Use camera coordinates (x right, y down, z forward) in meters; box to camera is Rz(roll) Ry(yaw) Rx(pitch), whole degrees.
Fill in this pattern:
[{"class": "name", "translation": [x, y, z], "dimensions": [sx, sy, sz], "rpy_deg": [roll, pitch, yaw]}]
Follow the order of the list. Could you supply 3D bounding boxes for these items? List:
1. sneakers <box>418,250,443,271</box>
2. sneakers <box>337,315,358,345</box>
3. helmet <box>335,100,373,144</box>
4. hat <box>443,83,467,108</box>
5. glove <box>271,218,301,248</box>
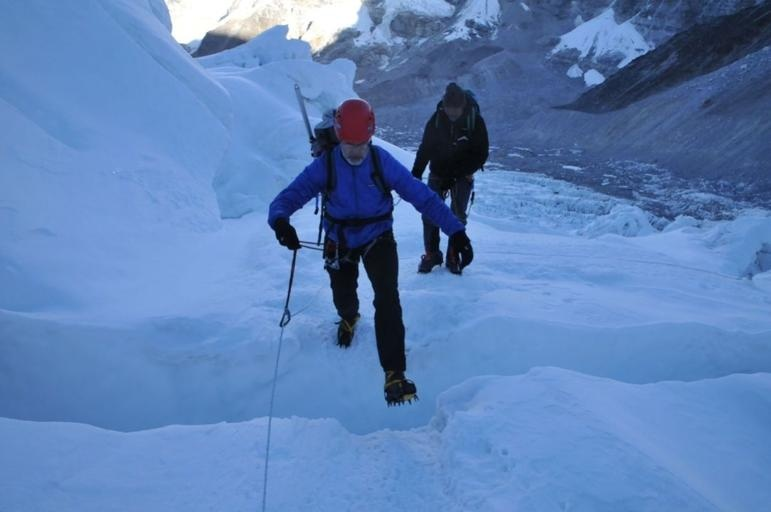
[{"class": "sneakers", "translation": [0.708, 0.102, 11.003], "dimensions": [0.185, 0.437, 0.231], "rpy_deg": [31, 45, -32]}, {"class": "sneakers", "translation": [-0.580, 1.088, 9.733], "dimensions": [0.191, 0.243, 0.542], "rpy_deg": [-1, 49, 16]}, {"class": "helmet", "translation": [-0.431, -1.839, 9.293], "dimensions": [0.472, 0.613, 0.564], "rpy_deg": [1, 13, -3]}, {"class": "hat", "translation": [1.057, -2.483, 10.513], "dimensions": [0.306, 0.342, 0.401], "rpy_deg": [-1, 20, 4]}, {"class": "glove", "translation": [-1.338, -0.324, 9.339], "dimensions": [0.434, 0.319, 0.140], "rpy_deg": [57, 21, 2]}]
